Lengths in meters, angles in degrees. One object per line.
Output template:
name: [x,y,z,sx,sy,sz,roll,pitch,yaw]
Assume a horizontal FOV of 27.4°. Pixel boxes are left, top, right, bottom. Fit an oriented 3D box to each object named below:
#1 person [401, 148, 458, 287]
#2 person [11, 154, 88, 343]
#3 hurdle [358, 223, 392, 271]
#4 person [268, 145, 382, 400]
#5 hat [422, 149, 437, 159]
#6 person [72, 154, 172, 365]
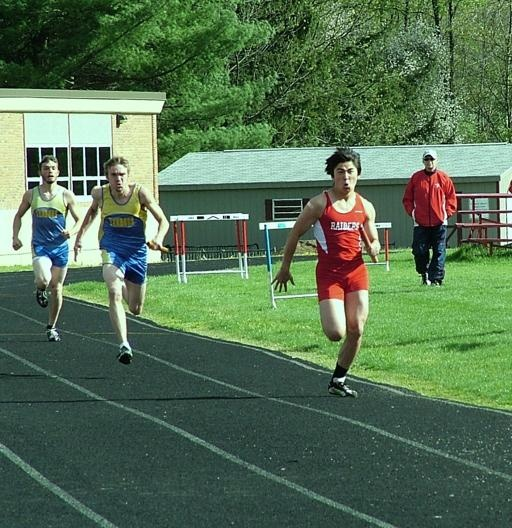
person: [2.528,-0.648,15.320,0.750,1.987,0.753,-1,5,9]
person: [-2.287,-0.146,11.379,0.846,1.994,0.663,2,3,26]
hurdle: [2.168,-0.232,19.178,0.708,1.021,0.858,-5,3,-9]
person: [0.623,0.107,8.647,0.777,2.098,0.612,-1,4,6]
hat: [2.484,-1.567,15.070,0.180,0.151,0.372,-1,5,9]
person: [-1.319,-0.105,9.956,0.837,1.834,1.552,-2,5,-12]
